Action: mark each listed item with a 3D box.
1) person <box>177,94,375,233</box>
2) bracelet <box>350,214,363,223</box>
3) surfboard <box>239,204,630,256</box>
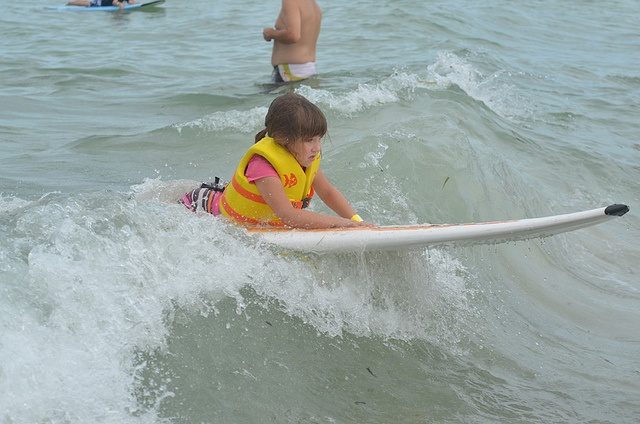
[{"bbox_3d":[-0.543,-0.442,7.344,2.466,1.342,1.027,9,21,36],"label":"person"},{"bbox_3d":[0.369,0.073,7.310,0.079,0.086,0.079,-46,35,-15],"label":"bracelet"},{"bbox_3d":[1.014,0.191,7.407,3.345,0.438,0.301,-4,83,15],"label":"surfboard"}]
